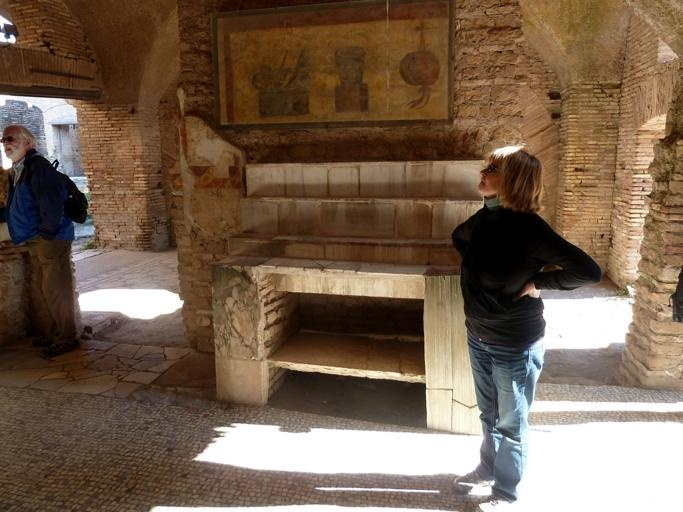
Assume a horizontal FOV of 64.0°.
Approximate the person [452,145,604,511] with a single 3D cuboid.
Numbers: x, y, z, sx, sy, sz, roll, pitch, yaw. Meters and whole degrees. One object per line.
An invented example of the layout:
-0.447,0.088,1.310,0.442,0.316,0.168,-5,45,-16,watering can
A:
1.233,0.768,3.932,0.990,2.161,0.612,7,17,29,person
